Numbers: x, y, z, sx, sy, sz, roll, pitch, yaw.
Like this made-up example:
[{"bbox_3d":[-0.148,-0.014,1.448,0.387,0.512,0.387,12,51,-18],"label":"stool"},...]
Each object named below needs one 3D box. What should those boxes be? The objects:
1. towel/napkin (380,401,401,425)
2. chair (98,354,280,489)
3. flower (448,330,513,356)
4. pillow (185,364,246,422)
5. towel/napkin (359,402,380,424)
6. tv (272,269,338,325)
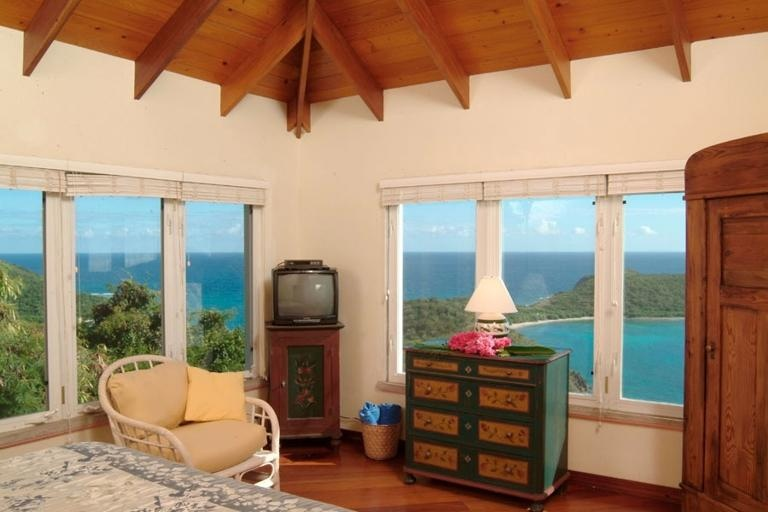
[{"bbox_3d":[0.054,1.532,5.320,0.185,0.171,0.064,1,-12,8],"label":"towel/napkin"},{"bbox_3d":[-1.569,1.411,4.338,1.182,0.996,0.919,0,2,28],"label":"chair"},{"bbox_3d":[0.782,0.735,4.626,0.264,0.115,0.296,1,0,-13],"label":"flower"},{"bbox_3d":[-1.395,1.163,4.570,0.491,0.439,0.144,8,-26,-22],"label":"pillow"},{"bbox_3d":[-0.128,1.520,5.310,0.183,0.173,0.077,10,-27,-31],"label":"towel/napkin"},{"bbox_3d":[-0.765,0.368,5.548,0.806,0.634,0.491,0,-2,-9],"label":"tv"}]
